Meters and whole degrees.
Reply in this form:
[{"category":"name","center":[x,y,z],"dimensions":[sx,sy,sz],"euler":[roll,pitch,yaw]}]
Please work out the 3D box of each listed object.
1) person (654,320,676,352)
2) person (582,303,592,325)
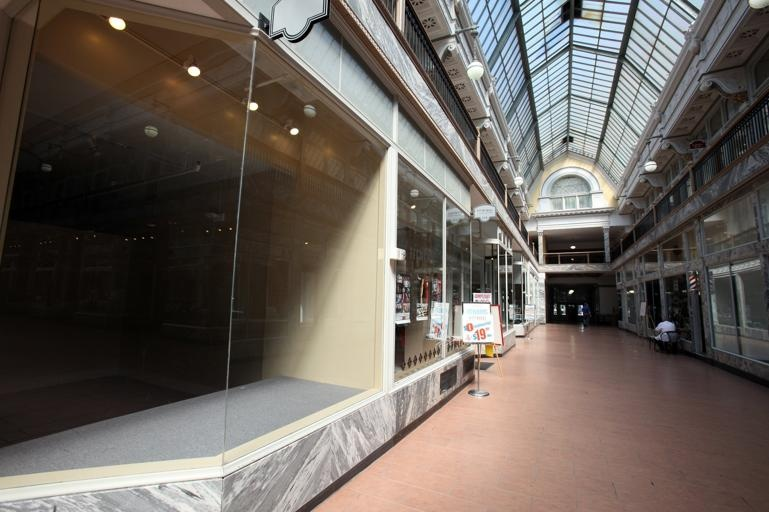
[{"category":"person","center":[9.109,2.604,14.846],"dimensions":[0.741,1.167,0.645],"euler":[8,-8,32]},{"category":"person","center":[12.432,3.750,28.315],"dimensions":[0.409,1.248,1.336],"euler":[7,14,20]}]
